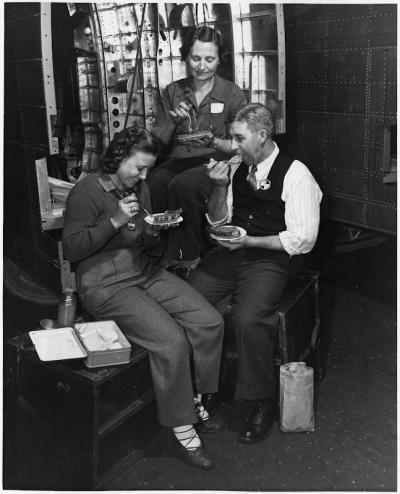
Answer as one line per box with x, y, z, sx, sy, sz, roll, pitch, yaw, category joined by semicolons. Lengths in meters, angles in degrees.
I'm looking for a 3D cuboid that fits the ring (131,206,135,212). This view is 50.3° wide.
-0.294;-0.159;1.830;0.015;0.022;0.012;-7;17;-16;ring

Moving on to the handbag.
0.501;0.800;2.189;0.181;0.414;0.088;-2;16;1;handbag

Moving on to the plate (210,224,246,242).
0.148;-0.072;2.261;0.111;0.022;0.111;-11;35;-22;plate

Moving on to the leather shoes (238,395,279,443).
0.330;0.861;2.246;0.111;0.123;0.321;27;45;21;leather shoes

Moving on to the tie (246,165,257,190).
0.279;-0.365;2.257;0.024;0.103;0.072;1;15;-9;tie
